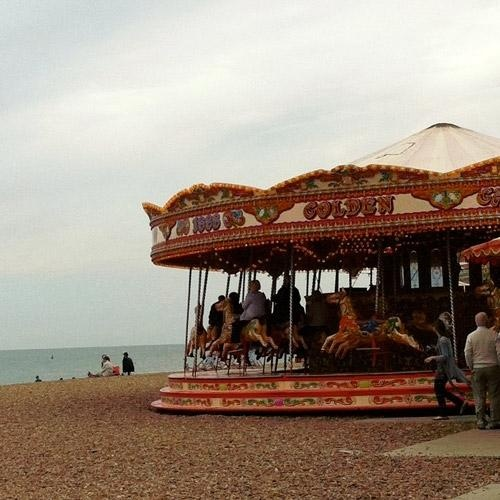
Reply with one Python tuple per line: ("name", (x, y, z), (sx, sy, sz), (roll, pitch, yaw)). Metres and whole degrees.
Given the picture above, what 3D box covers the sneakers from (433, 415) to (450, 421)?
("sneakers", (3.057, 2.688, 11.383), (0.259, 0.085, 0.289), (-3, -6, 12))
